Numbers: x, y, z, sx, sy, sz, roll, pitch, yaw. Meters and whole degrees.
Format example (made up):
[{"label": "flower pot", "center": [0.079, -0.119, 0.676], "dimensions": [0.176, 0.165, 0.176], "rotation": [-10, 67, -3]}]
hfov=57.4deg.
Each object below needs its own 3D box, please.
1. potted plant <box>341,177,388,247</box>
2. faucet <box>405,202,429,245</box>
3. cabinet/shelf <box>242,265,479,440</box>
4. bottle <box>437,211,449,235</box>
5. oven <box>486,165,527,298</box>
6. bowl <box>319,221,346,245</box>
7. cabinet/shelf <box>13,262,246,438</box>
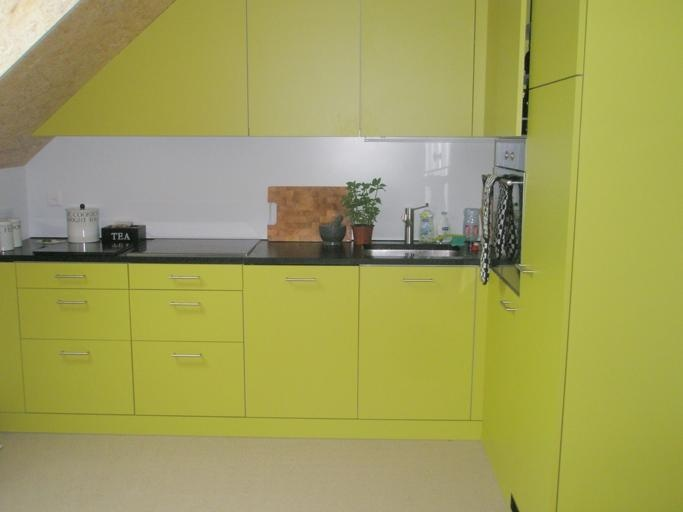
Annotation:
[{"label": "potted plant", "center": [0.140, -0.274, 3.931], "dimensions": [0.274, 0.415, 0.281], "rotation": [-1, 9, 3]}, {"label": "faucet", "center": [0.468, -0.202, 3.942], "dimensions": [0.160, 0.248, 0.247], "rotation": [-1, 9, 8]}, {"label": "cabinet/shelf", "center": [0.071, 0.440, 3.859], "dimensions": [1.353, 0.923, 0.783], "rotation": [1, 8, 0]}, {"label": "bottle", "center": [0.652, -0.211, 4.000], "dimensions": [0.072, 0.137, 0.082], "rotation": [-1, 9, 9]}, {"label": "oven", "center": [0.804, -0.124, 3.038], "dimensions": [0.213, 0.604, 0.621], "rotation": [-1, 7, 2]}, {"label": "bowl", "center": [-0.059, -0.134, 3.842], "dimensions": [0.164, 0.138, 0.154], "rotation": [-2, 9, 0]}, {"label": "cabinet/shelf", "center": [-1.161, 0.480, 3.898], "dimensions": [1.394, 0.967, 0.807], "rotation": [0, 5, 1]}]
